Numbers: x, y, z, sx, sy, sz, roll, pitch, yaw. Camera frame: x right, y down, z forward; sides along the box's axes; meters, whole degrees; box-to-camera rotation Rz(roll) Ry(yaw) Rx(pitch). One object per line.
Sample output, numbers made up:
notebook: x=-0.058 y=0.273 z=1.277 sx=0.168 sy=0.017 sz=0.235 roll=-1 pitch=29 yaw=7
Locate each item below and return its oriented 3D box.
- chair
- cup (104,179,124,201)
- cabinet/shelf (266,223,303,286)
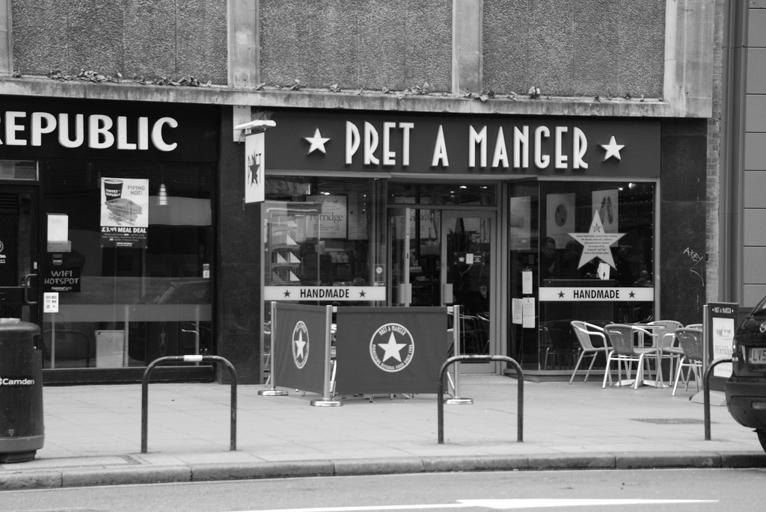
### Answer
chair: x=4.677 y=1.863 z=29.422 sx=2.060 sy=1.267 sz=1.752 roll=-1 pitch=-1 yaw=10
cup: x=-4.922 y=-1.225 z=28.176 sx=0.360 sy=0.360 sz=0.345 roll=-1 pitch=-5 yaw=0
cabinet/shelf: x=-1.983 y=-0.019 z=29.244 sx=1.018 sy=1.312 sz=1.006 roll=0 pitch=2 yaw=-8
